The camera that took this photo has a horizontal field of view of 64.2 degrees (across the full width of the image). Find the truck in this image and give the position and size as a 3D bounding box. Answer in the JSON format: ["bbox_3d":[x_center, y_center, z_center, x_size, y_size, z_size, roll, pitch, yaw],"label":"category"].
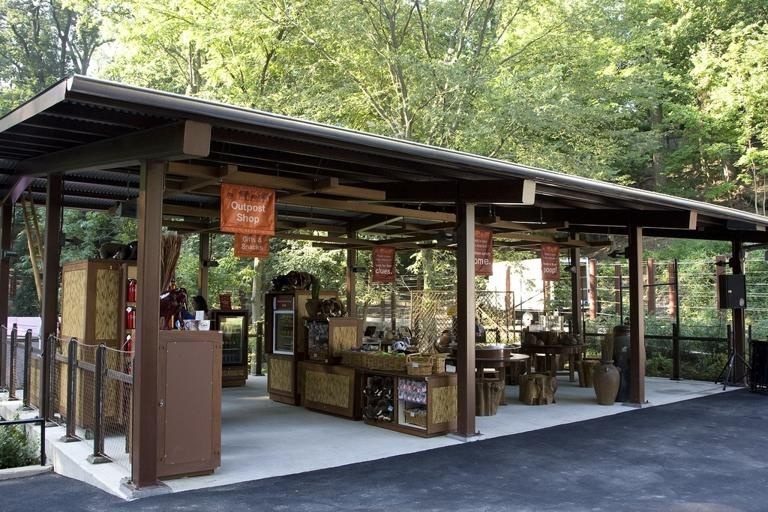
[{"bbox_3d":[6.785,1.220,27.455,5.657,3.326,2.848,1,-4,-23],"label":"truck"}]

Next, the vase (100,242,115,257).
[{"bbox_3d":[-5.376,-0.139,11.917,0.300,0.197,0.287,1,-6,-36],"label":"vase"}]

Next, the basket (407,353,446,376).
[{"bbox_3d":[0.821,2.079,11.819,0.465,0.253,0.572,2,-4,-26],"label":"basket"}]

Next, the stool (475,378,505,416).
[{"bbox_3d":[2.411,3.129,13.655,0.791,0.545,0.707,-4,-11,14],"label":"stool"}]

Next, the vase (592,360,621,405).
[{"bbox_3d":[5.256,3.065,15.002,0.948,1.297,1.032,1,-9,17],"label":"vase"}]

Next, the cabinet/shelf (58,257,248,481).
[{"bbox_3d":[-4.296,1.732,10.516,1.379,3.527,3.650,6,-7,-44],"label":"cabinet/shelf"}]

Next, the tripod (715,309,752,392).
[{"bbox_3d":[9.737,2.594,17.180,0.869,2.051,1.922,-3,-6,29],"label":"tripod"}]

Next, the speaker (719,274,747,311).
[{"bbox_3d":[9.519,0.924,16.816,0.851,0.962,0.467,4,-6,-33],"label":"speaker"}]
